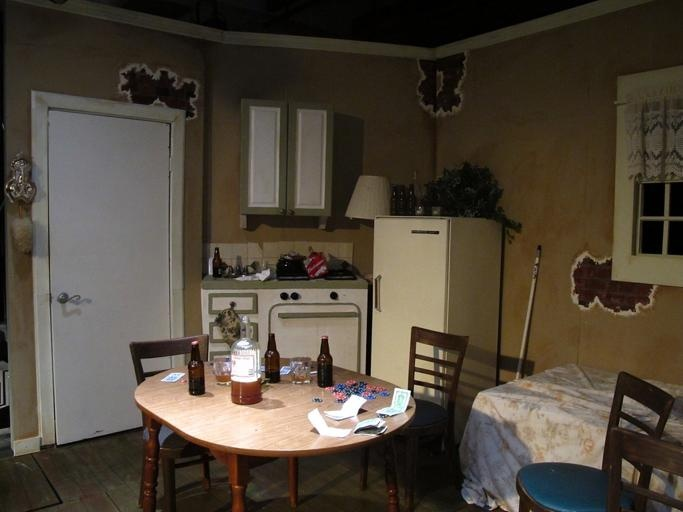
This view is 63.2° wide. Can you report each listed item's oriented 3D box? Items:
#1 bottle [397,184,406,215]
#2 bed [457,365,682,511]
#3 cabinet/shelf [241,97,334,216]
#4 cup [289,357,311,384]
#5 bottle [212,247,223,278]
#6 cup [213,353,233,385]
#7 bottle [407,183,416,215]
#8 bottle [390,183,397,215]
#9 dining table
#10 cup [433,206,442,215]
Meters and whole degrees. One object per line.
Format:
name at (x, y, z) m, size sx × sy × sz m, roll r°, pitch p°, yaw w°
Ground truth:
bottle at (0.587, -0.539, 5.372) m, size 0.090 × 0.281 × 0.186 m, roll 1°, pitch 6°, yaw 8°
bed at (1.488, 1.189, 3.782) m, size 1.109 × 0.628 × 1.090 m, roll 3°, pitch 2°, yaw -40°
cabinet/shelf at (-0.528, -0.924, 5.140) m, size 0.967 × 1.272 × 0.496 m, roll 1°, pitch 2°, yaw -17°
cup at (-0.248, 0.709, 3.390) m, size 0.125 × 0.157 × 0.139 m, roll -1°, pitch -4°, yaw 22°
bottle at (-1.147, 0.065, 5.177) m, size 0.118 × 0.262 × 0.298 m, roll -1°, pitch 5°, yaw -13°
cup at (-0.716, 0.712, 3.422) m, size 0.140 × 0.170 × 0.143 m, roll 0°, pitch -2°, yaw 0°
bottle at (0.679, -0.533, 5.298) m, size 0.098 × 0.279 × 0.141 m, roll 4°, pitch 7°, yaw 31°
bottle at (0.505, -0.533, 5.345) m, size 0.084 × 0.272 × 0.074 m, roll 2°, pitch 7°, yaw 19°
dining table at (-0.439, 1.163, 3.180) m, size 1.620 × 0.787 × 0.962 m, roll 1°, pitch 5°, yaw 7°
cup at (0.815, -0.381, 4.770) m, size 0.085 × 0.091 × 0.060 m, roll 3°, pitch 4°, yaw 43°
